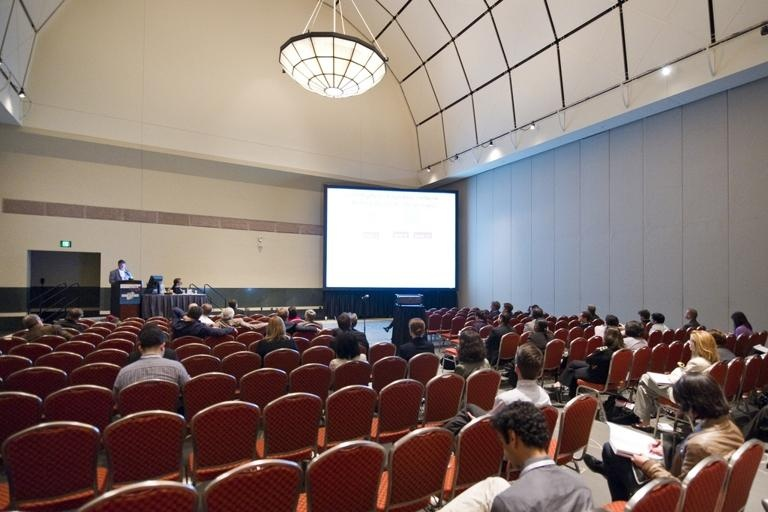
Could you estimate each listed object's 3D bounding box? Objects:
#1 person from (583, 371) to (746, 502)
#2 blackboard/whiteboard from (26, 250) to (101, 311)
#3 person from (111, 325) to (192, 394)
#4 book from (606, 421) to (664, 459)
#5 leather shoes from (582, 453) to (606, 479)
[{"bbox_3d":[3.495,2.284,6.292,1.610,1.671,1.001,-1,-5,39],"label":"person"},{"bbox_3d":[-10.931,0.826,16.871,1.828,1.926,0.642,1,-3,-39],"label":"blackboard/whiteboard"},{"bbox_3d":[-3.484,1.626,7.511,1.211,1.243,0.630,1,5,-24],"label":"person"},{"bbox_3d":[3.348,2.469,6.709,0.632,0.172,0.656,6,0,4],"label":"book"},{"bbox_3d":[2.850,2.845,6.892,0.150,0.186,0.433,4,14,-25],"label":"leather shoes"}]
